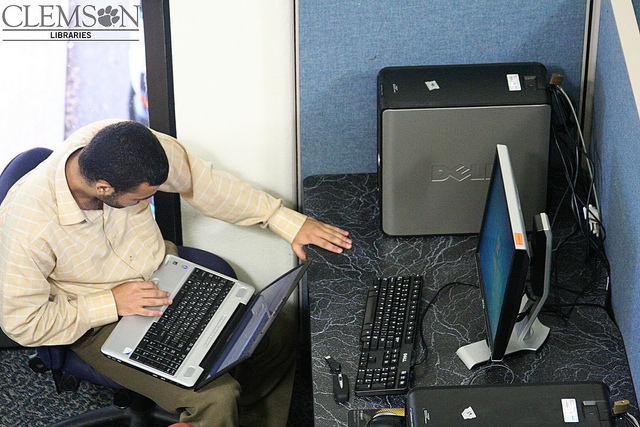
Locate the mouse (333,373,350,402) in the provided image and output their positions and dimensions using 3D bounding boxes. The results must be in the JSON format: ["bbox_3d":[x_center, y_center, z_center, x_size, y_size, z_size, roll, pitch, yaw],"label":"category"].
[{"bbox_3d":[0.061,0.493,1.586,0.047,0.025,0.085,1,28,-8],"label":"mouse"}]

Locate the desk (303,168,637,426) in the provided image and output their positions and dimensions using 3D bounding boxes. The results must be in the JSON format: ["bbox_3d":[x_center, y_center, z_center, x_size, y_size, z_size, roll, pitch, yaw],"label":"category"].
[{"bbox_3d":[0.397,0.308,1.804,0.678,0.491,0.938,-2,47,-1],"label":"desk"}]

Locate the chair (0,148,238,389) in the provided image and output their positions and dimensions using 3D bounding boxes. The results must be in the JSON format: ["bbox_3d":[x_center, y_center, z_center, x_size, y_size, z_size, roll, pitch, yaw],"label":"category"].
[{"bbox_3d":[-0.705,0.188,1.966,0.749,0.762,0.535,11,58,1],"label":"chair"}]

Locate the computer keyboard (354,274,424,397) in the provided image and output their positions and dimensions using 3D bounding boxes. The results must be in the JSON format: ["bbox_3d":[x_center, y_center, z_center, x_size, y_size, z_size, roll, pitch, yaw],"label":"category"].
[{"bbox_3d":[0.243,0.399,1.703,0.233,0.072,0.535,2,40,13],"label":"computer keyboard"}]

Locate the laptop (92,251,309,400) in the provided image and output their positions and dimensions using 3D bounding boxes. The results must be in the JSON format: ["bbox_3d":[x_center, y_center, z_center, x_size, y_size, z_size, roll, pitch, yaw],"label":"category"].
[{"bbox_3d":[-0.423,0.428,1.994,0.560,0.330,0.546,21,47,7],"label":"laptop"}]

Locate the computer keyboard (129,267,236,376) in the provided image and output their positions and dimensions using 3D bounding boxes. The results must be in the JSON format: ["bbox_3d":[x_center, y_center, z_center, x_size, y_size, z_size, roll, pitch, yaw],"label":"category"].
[{"bbox_3d":[-0.485,0.383,2.017,0.281,0.043,0.651,29,24,-4],"label":"computer keyboard"}]

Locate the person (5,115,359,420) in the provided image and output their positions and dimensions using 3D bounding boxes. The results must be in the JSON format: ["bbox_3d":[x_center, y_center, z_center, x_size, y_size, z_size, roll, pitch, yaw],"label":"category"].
[{"bbox_3d":[-0.512,0.185,2.038,0.797,0.839,0.764,16,51,14],"label":"person"}]

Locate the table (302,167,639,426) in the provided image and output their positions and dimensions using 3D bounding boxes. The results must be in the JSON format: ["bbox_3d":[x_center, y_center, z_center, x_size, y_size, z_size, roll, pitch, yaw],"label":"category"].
[{"bbox_3d":[0.426,0.396,2.078,1.307,0.644,0.837,-2,46,-1],"label":"table"}]

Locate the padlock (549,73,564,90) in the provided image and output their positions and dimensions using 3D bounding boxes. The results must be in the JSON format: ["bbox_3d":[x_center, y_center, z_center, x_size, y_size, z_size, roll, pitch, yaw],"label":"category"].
[{"bbox_3d":[0.836,-0.471,2.000,0.043,0.054,0.045,6,35,4],"label":"padlock"}]
